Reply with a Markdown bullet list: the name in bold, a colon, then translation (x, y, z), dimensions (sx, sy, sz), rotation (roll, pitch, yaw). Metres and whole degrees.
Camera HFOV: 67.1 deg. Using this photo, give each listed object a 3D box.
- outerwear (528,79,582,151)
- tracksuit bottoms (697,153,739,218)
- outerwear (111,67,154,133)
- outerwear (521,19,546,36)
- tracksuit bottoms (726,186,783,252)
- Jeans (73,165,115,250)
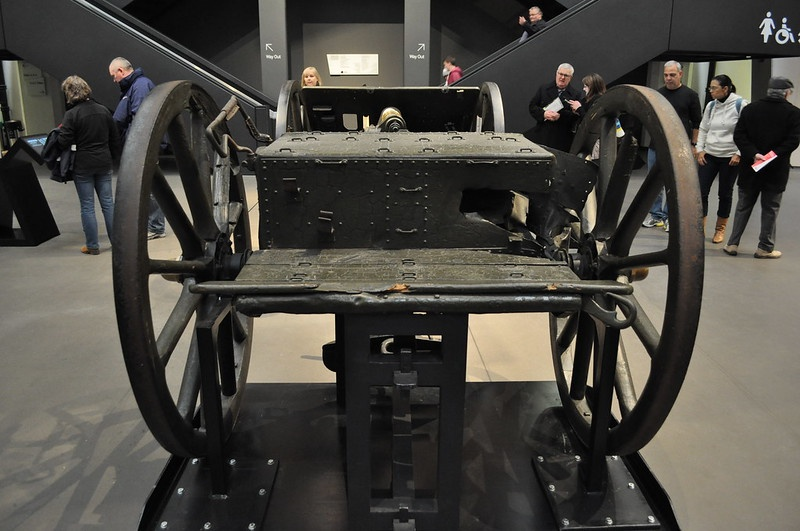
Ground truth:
- **outerwear**: translation (2.337, -2.153, 9.149), dimensions (0.820, 1.158, 0.669), rotation (6, 5, 19)
- **tracksuit bottoms**: translation (4.270, -1.015, 8.234), dimensions (0.425, 0.343, 1.433), rotation (8, 57, 18)
- **outerwear**: translation (-3.514, -2.180, 8.048), dimensions (0.410, 0.761, 0.795), rotation (-5, 26, -36)
- **outerwear**: translation (2.542, -4.537, 11.608), dimensions (0.346, 0.189, 0.489), rotation (-1, 10, 19)
- **tracksuit bottoms**: translation (4.730, -0.581, 8.146), dimensions (0.310, 1.098, 0.461), rotation (-34, 39, -14)
- **Jeans**: translation (-3.927, -0.726, 7.959), dimensions (0.399, 0.325, 1.408), rotation (-11, 64, -21)
